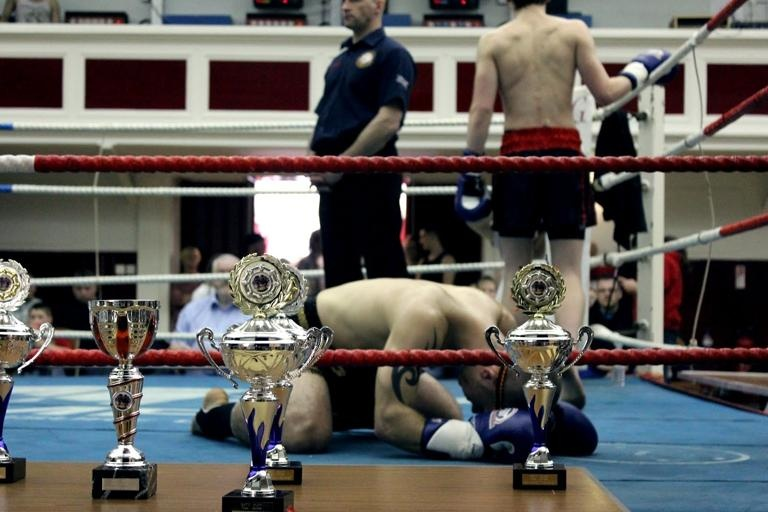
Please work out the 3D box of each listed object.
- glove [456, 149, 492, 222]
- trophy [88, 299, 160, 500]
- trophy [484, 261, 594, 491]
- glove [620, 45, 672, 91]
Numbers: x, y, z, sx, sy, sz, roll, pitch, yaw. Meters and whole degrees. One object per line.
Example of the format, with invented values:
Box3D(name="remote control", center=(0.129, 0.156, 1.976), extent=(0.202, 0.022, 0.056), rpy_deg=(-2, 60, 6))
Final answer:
Box3D(name="glove", center=(0.652, -0.486, 11.661), extent=(0.209, 0.554, 0.223), rpy_deg=(3, 15, 3))
Box3D(name="trophy", center=(-1.695, 0.934, 10.512), extent=(0.447, 1.299, 0.218), rpy_deg=(1, -1, -8))
Box3D(name="trophy", center=(1.024, 0.784, 10.595), extent=(0.678, 1.482, 0.224), rpy_deg=(0, -1, 5))
Box3D(name="glove", center=(1.863, -1.353, 11.548), extent=(0.371, 0.293, 0.199), rpy_deg=(0, -1, -6))
